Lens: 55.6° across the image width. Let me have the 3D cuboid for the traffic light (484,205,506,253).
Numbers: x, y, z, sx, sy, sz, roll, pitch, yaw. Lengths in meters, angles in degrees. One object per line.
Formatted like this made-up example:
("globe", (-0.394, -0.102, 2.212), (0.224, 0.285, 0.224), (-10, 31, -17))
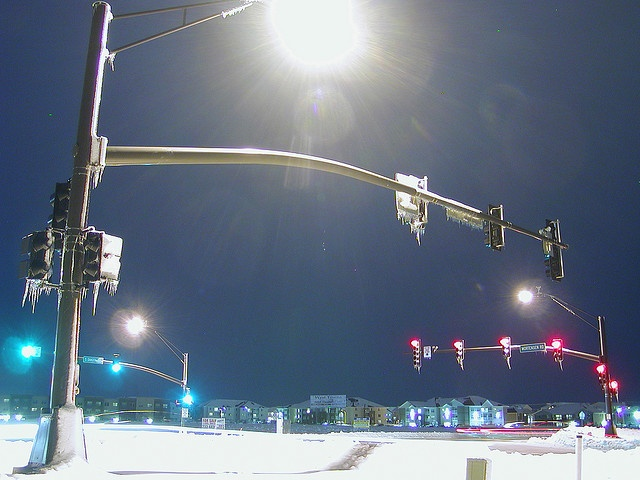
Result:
("traffic light", (5.495, -0.395, 19.440), (0.653, 1.292, 0.556), (-16, 28, -10))

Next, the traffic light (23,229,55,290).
("traffic light", (-6.471, 0.357, 13.919), (0.638, 1.148, 0.542), (4, -18, -15))

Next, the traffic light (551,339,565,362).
("traffic light", (15.316, 7.099, 39.293), (0.681, 1.456, 1.803), (-7, -19, 19))

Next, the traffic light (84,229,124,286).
("traffic light", (-5.224, 0.472, 14.485), (1.060, 1.237, 0.868), (14, -26, -38))
